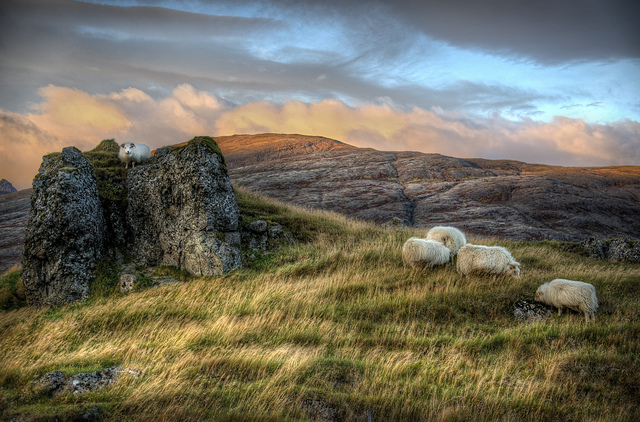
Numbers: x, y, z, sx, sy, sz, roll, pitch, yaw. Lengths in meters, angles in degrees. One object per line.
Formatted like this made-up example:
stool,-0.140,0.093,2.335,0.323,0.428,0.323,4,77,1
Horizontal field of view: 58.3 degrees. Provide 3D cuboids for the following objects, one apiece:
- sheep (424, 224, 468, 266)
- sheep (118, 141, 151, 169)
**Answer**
sheep,7.345,1.791,33.169,2.344,1.746,1.796,7,-22,-29
sheep,-11.247,-3.291,34.350,1.309,1.451,2.710,-3,3,-7
